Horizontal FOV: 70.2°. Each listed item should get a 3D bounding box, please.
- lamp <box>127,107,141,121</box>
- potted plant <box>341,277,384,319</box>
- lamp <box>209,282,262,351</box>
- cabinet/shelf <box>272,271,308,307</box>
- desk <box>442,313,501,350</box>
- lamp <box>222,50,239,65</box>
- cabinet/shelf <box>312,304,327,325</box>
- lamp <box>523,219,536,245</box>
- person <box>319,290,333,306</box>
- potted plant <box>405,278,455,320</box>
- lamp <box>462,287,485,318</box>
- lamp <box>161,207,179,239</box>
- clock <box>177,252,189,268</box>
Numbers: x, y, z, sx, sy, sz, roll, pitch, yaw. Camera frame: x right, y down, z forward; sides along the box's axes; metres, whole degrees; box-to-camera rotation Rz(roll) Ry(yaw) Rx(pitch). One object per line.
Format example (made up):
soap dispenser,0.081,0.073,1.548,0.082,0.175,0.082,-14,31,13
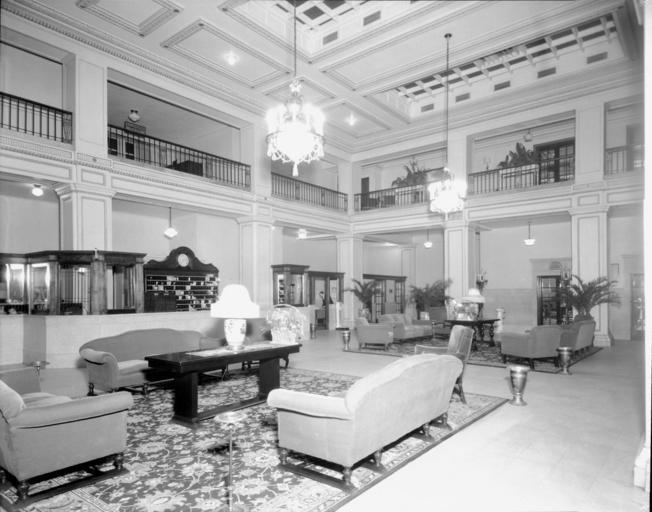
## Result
lamp,-5.776,-4.251,13.920,0.277,0.276,0.266,-3,-9,25
potted plant,1.509,1.548,17.258,1.390,1.465,1.415,-4,-3,-27
lamp,-1.469,0.910,6.999,0.912,1.283,0.884,3,-8,-27
cabinet/shelf,-1.137,0.978,14.065,0.363,0.971,1.021,-5,-8,37
desk,3.596,1.868,11.378,1.112,0.713,1.133,-5,-8,39
lamp,-2.249,-4.699,10.996,0.341,0.177,0.557,-1,9,-13
cabinet/shelf,-0.221,2.282,17.638,0.677,0.677,0.669,3,-6,-42
lamp,6.902,-0.711,15.602,0.374,0.950,1.186,5,9,23
person,0.005,1.676,17.826,0.517,0.836,1.342,1,9,-3
potted plant,3.798,1.541,16.999,1.322,1.442,1.383,1,-2,-21
lamp,3.804,1.255,12.395,0.798,0.979,0.821,-3,-2,24
lamp,-4.530,-0.909,13.495,0.386,0.919,1.119,-2,9,-20
clock,-3.952,0.134,12.820,0.081,0.371,0.363,6,10,30
